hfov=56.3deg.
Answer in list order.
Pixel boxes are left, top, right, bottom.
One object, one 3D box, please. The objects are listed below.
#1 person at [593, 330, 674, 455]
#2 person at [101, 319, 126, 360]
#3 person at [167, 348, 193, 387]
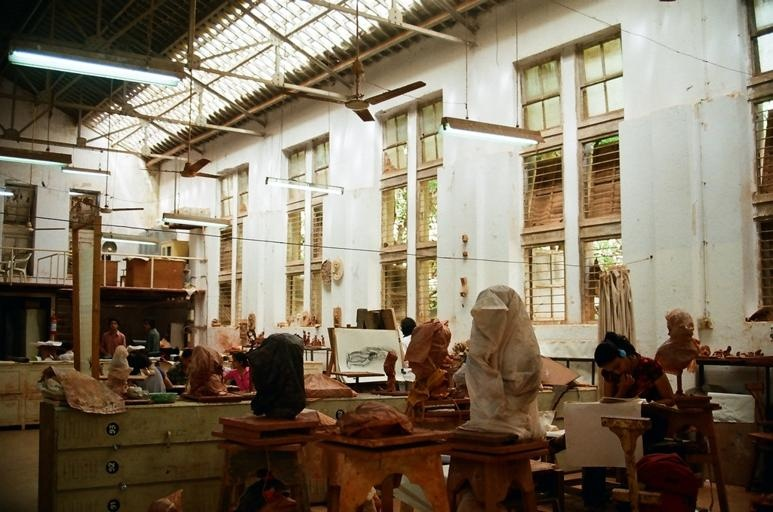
[{"bbox_3d":[3.401,1.868,9.933,0.983,1.608,0.612,-3,-7,18],"label":"person"},{"bbox_3d":[-6.713,2.102,17.794,0.623,1.002,0.560,1,0,-24],"label":"person"},{"bbox_3d":[-3.723,2.094,13.152,0.363,0.724,0.241,14,-1,-35],"label":"person"}]
